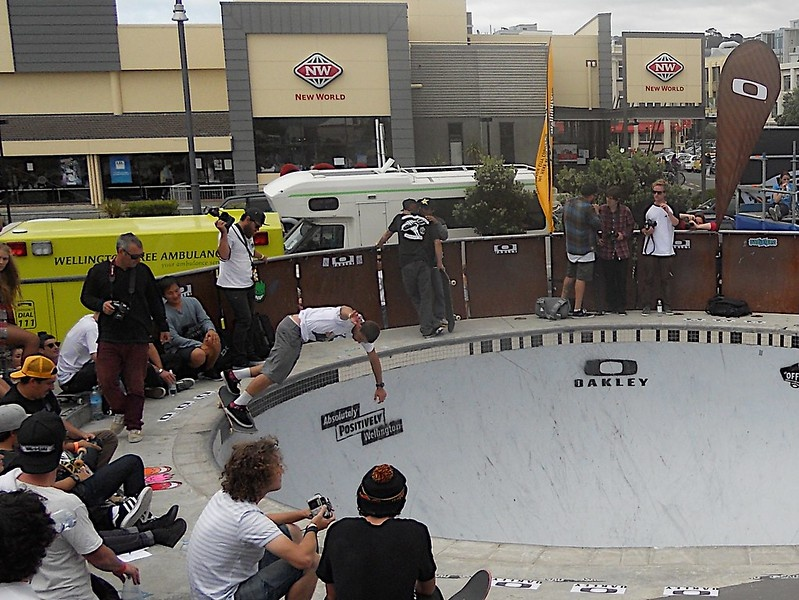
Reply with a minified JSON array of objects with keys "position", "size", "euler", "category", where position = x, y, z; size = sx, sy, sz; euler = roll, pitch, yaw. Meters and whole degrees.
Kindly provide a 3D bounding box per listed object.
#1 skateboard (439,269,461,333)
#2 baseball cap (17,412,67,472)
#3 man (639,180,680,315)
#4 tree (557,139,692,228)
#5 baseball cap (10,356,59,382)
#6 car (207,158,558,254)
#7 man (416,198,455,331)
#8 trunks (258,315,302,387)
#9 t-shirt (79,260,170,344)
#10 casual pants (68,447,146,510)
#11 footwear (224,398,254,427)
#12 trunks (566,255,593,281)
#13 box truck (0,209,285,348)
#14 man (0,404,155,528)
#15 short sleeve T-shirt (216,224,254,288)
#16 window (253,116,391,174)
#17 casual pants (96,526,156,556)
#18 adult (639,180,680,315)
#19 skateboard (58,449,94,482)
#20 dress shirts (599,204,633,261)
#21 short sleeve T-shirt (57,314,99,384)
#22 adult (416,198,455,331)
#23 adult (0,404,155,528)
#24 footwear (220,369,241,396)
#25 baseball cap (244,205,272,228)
[{"position":[0.703,0.011,11.416],"size":[0.231,0.892,0.154],"euler":[-6,8,-5],"category":"skateboard"},{"position":[-2.349,0.927,5.186],"size":[0.237,0.209,0.388],"euler":[3,49,-11],"category":"baseball cap"},{"position":[3.810,-0.760,11.539],"size":[0.484,1.959,0.793],"euler":[0,7,17],"category":"man"},{"position":[5.733,-3.604,19.851],"size":[2.706,2.846,3.327],"euler":[6,2,17],"category":"tree"},{"position":[-3.037,0.565,6.523],"size":[0.333,0.191,0.221],"euler":[4,-1,-5],"category":"baseball cap"},{"position":[-0.158,-1.781,15.892],"size":[6.241,3.158,2.471],"euler":[-2,3,-15],"category":"car"},{"position":[0.593,-0.403,11.150],"size":[0.441,2.004,0.351],"euler":[1,27,23],"category":"man"},{"position":[-1.245,0.539,8.304],"size":[0.450,0.707,0.199],"euler":[-4,7,-12],"category":"trunks"},{"position":[-2.739,0.033,7.837],"size":[0.784,0.833,0.277],"euler":[-5,7,-24],"category":"t-shirt"},{"position":[-2.253,1.403,6.141],"size":[0.266,0.248,0.523],"euler":[22,11,9],"category":"casual pants"},{"position":[-1.628,1.235,8.265],"size":[0.362,0.165,0.174],"euler":[37,11,-4],"category":"footwear"},{"position":[2.649,-0.470,11.509],"size":[0.173,0.310,0.296],"euler":[-13,19,-37],"category":"trunks"},{"position":[-3.499,-0.558,11.728],"size":[4.033,1.908,1.729],"euler":[-5,10,-21],"category":"box truck"},{"position":[-2.410,1.268,5.913],"size":[0.784,0.856,0.438],"euler":[-24,36,-14],"category":"man"},{"position":[-2.016,-0.536,9.672],"size":[0.374,0.685,0.669],"euler":[5,7,1],"category":"short sleeve T-shirt"},{"position":[-2.721,-5.144,25.754],"size":[3.725,2.236,0.071],"euler":[-4,15,-11],"category":"window"},{"position":[-2.053,1.764,5.878],"size":[0.357,0.141,0.203],"euler":[5,0,-34],"category":"casual pants"},{"position":[3.811,-0.760,11.541],"size":[0.484,1.959,0.797],"euler":[0,7,17],"category":"adult"},{"position":[-2.568,1.327,6.231],"size":[0.263,0.114,0.269],"euler":[18,49,-16],"category":"skateboard"},{"position":[3.111,-0.974,11.369],"size":[0.702,0.933,0.500],"euler":[1,10,13],"category":"dress shirts"},{"position":[-3.521,0.566,8.629],"size":[0.398,0.688,0.466],"euler":[13,17,-34],"category":"short sleeve T-shirt"},{"position":[0.540,-0.411,11.214],"size":[0.441,2.004,0.351],"euler":[1,27,23],"category":"adult"},{"position":[-2.410,1.268,5.913],"size":[0.784,0.856,0.438],"euler":[-24,36,-14],"category":"adult"},{"position":[-1.807,0.885,8.502],"size":[0.148,0.359,0.132],"euler":[-17,29,5],"category":"footwear"},{"position":[-1.763,-1.014,9.736],"size":[0.213,0.171,0.315],"euler":[24,24,6],"category":"baseball cap"}]
